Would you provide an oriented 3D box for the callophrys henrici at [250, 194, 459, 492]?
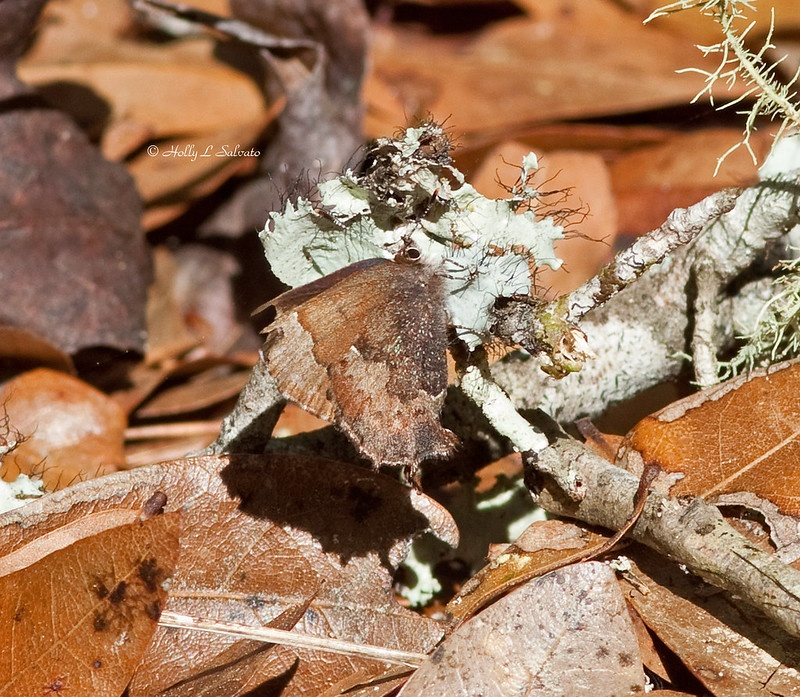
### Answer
[{"bbox_3d":[-0.043,0.014,1.163,0.282,0.139,0.220,10,93,40],"label":"callophrys henrici"}]
